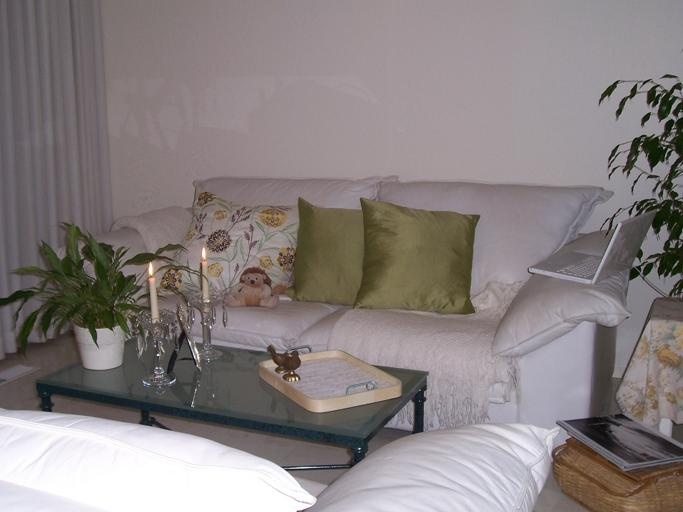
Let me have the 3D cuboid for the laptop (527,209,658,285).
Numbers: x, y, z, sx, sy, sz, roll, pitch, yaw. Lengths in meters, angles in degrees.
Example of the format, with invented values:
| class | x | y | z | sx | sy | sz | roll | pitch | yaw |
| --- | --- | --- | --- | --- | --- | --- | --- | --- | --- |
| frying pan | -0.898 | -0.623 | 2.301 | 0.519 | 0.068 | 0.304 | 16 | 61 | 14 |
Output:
| class | x | y | z | sx | sy | sz | roll | pitch | yaw |
| --- | --- | --- | --- | --- | --- | --- | --- | --- | --- |
| laptop | 0.880 | -0.013 | 2.051 | 0.307 | 0.206 | 0.382 | 4 | -1 | 21 |

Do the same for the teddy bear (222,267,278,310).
| class | x | y | z | sx | sy | sz | roll | pitch | yaw |
| --- | --- | --- | --- | --- | --- | --- | --- | --- | --- |
| teddy bear | -0.420 | 0.148 | 2.565 | 0.241 | 0.186 | 0.145 | 1 | 16 | -13 |

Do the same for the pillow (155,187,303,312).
| class | x | y | z | sx | sy | sz | roll | pitch | yaw |
| --- | --- | --- | --- | --- | --- | --- | --- | --- | --- |
| pillow | -0.552 | -0.045 | 2.579 | 0.526 | 0.505 | 0.164 | 4 | -11 | 23 |

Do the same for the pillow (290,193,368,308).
| class | x | y | z | sx | sy | sz | roll | pitch | yaw |
| --- | --- | --- | --- | --- | --- | --- | --- | --- | --- |
| pillow | -0.062 | -0.003 | 2.611 | 0.449 | 0.444 | 0.173 | 11 | 3 | 28 |

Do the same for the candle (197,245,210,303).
| class | x | y | z | sx | sy | sz | roll | pitch | yaw |
| --- | --- | --- | --- | --- | --- | --- | --- | --- | --- |
| candle | -0.488 | 0.031 | 1.979 | 0.041 | 0.042 | 0.334 | -8 | 48 | -9 |

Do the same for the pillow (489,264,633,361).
| class | x | y | z | sx | sy | sz | roll | pitch | yaw |
| --- | --- | --- | --- | --- | --- | --- | --- | --- | --- |
| pillow | 0.799 | 0.212 | 2.041 | 0.428 | 0.280 | 0.331 | 7 | 15 | 19 |

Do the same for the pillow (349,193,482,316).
| class | x | y | z | sx | sy | sz | roll | pitch | yaw |
| --- | --- | --- | --- | --- | --- | --- | --- | --- | --- |
| pillow | 0.320 | 0.062 | 2.544 | 0.549 | 0.629 | 0.181 | 1 | 32 | -2 |

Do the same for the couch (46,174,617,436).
| class | x | y | z | sx | sy | sz | roll | pitch | yaw |
| --- | --- | --- | --- | --- | --- | --- | --- | --- | --- |
| couch | -0.020 | 0.294 | 2.793 | 0.845 | 0.835 | 1.770 | -21 | 11 | -28 |
